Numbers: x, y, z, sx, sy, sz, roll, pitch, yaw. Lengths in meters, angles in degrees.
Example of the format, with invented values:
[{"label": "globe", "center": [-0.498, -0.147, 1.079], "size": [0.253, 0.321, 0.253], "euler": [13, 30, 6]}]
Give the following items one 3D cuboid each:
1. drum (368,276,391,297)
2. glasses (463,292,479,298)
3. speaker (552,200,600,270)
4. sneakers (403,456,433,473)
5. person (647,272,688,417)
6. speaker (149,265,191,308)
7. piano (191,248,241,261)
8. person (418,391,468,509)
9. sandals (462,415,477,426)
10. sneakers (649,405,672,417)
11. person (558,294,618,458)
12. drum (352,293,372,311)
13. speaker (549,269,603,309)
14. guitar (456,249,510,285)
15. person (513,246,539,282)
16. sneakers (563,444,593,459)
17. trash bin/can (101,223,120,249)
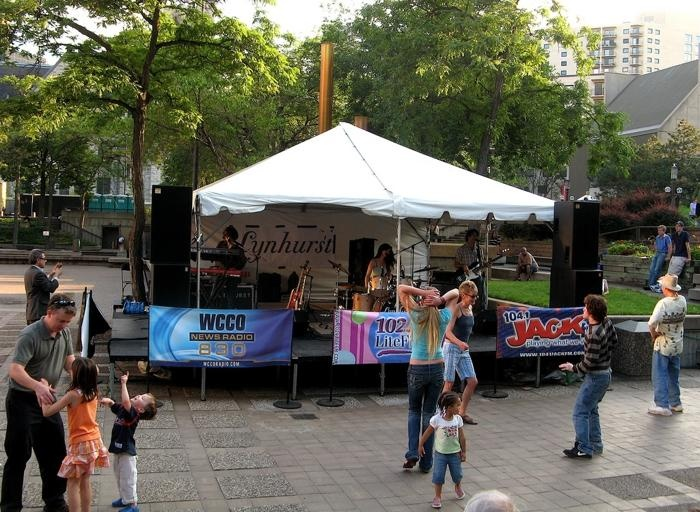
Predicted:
[{"label": "drum", "center": [0.705, 0.710, 15.779], "size": [0.489, 0.458, 0.474], "euler": [1, -23, 0]}, {"label": "glasses", "center": [1.985, 0.634, 11.176], "size": [0.198, 0.057, 0.196], "euler": [1, -1, -26]}, {"label": "speaker", "center": [5.120, -0.494, 15.298], "size": [1.003, 1.549, 0.568], "euler": [4, 8, 17]}, {"label": "sneakers", "center": [0.981, 3.031, 9.934], "size": [0.461, 0.165, 0.196], "euler": [15, 38, 30]}, {"label": "person", "center": [5.901, 1.570, 12.520], "size": [0.828, 2.618, 0.549], "euler": [-5, 11, -41]}, {"label": "speaker", "center": [-3.660, 0.551, 13.546], "size": [1.191, 0.812, 0.790], "euler": [-2, 0, -6]}, {"label": "piano", "center": [-3.148, -0.023, 15.891], "size": [1.122, 0.361, 1.476], "euler": [0, 8, -13]}, {"label": "person", "center": [1.312, 2.522, 9.208], "size": [0.598, 1.421, 0.960], "euler": [3, 8, 7]}, {"label": "sandals", "center": [2.084, 2.843, 11.901], "size": [0.370, 0.140, 0.125], "euler": [-4, -2, 40]}, {"label": "sneakers", "center": [5.749, 2.812, 12.559], "size": [0.403, 0.170, 0.164], "euler": [5, 5, 43]}, {"label": "person", "center": [3.749, 1.836, 10.561], "size": [0.551, 2.517, 0.745], "euler": [7, 10, 35]}, {"label": "drum", "center": [0.318, 1.032, 15.772], "size": [0.404, 0.380, 0.398], "euler": [1, -4, -3]}, {"label": "speaker", "center": [5.225, 0.665, 15.547], "size": [0.979, 0.914, 0.962], "euler": [0, 0, 40]}, {"label": "guitar", "center": [3.946, 0.321, 19.853], "size": [1.271, 0.489, 0.176], "euler": [-26, -3, 39]}, {"label": "person", "center": [6.573, 0.279, 25.011], "size": [0.662, 1.395, 2.038], "euler": [4, 8, 14]}, {"label": "sneakers", "center": [3.577, 3.013, 10.574], "size": [0.440, 0.212, 0.160], "euler": [3, -5, 14]}, {"label": "trash bin/can", "center": [-20.175, -1.754, 56.842], "size": [1.487, 2.667, 1.958], "euler": [2, -8, -8]}]
